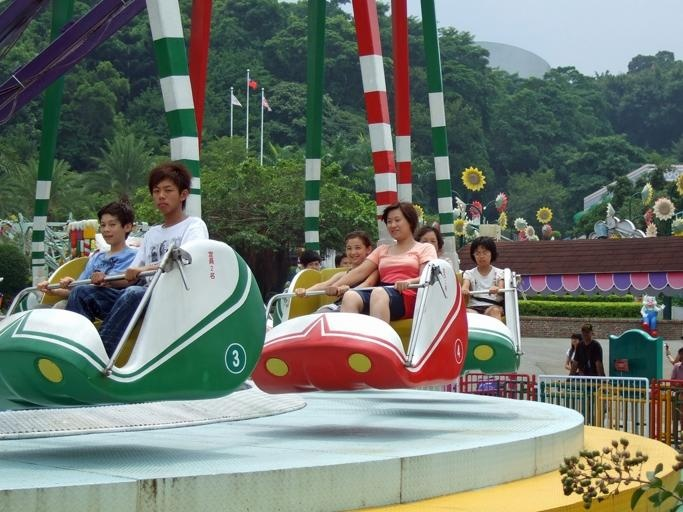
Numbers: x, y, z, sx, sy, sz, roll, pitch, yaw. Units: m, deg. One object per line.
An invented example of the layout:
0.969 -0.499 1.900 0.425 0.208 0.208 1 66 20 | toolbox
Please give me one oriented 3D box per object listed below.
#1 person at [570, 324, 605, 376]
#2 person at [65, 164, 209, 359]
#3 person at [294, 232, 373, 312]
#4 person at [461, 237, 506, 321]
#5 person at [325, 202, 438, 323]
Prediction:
3.908 1.482 12.429 0.486 0.834 0.494 -4 6 11 | person
-1.377 -0.023 5.374 0.831 1.377 0.822 5 -4 -32 | person
0.004 0.127 7.322 0.766 0.911 0.582 3 -2 -43 | person
1.629 0.220 8.913 0.481 0.984 0.794 2 -4 12 | person
0.381 0.036 6.859 0.870 1.068 0.916 2 -4 11 | person
